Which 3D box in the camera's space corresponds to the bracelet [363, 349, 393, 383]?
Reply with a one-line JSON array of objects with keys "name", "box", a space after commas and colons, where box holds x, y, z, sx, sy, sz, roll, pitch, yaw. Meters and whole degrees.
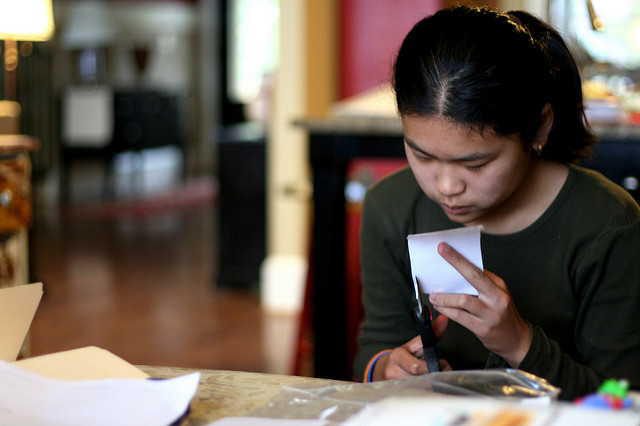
[{"name": "bracelet", "box": [0.124, 0.351, 1.327, 0.075, 0.072, 0.074, -1, -3, -3]}]

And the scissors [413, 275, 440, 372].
[{"name": "scissors", "box": [0.215, 0.229, 1.153, 0.032, 0.209, 0.082, -9, 7, 10]}]
